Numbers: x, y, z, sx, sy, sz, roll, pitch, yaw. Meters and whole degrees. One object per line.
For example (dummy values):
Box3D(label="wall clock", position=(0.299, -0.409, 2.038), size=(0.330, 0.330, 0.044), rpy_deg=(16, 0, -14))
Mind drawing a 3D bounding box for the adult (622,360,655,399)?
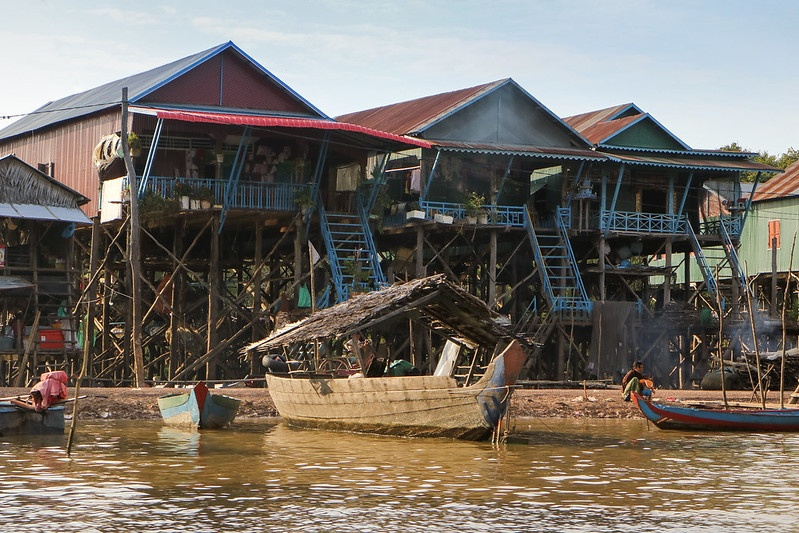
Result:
Box3D(label="adult", position=(7.482, 3.565, 50.595), size=(1.112, 1.345, 1.028), rpy_deg=(-7, 3, -11))

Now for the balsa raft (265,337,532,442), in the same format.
Box3D(label="balsa raft", position=(-0.012, 3.641, 48.862), size=(2.336, 2.656, 10.685), rpy_deg=(4, -6, -42))
